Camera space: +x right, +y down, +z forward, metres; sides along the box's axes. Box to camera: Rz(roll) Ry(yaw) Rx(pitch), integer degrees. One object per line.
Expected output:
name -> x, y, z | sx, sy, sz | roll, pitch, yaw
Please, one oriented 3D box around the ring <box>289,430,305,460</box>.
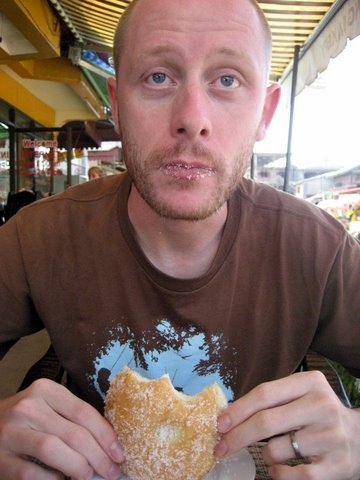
ring -> 0.246, 0.448, 0.849 | 0.011, 0.045, 0.047 | -17, -21, -4
